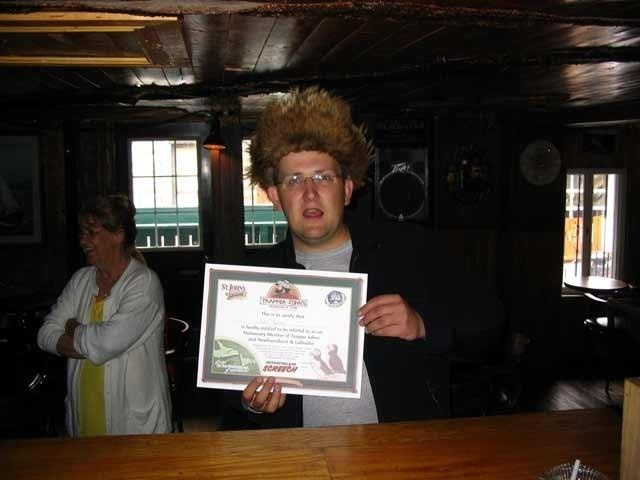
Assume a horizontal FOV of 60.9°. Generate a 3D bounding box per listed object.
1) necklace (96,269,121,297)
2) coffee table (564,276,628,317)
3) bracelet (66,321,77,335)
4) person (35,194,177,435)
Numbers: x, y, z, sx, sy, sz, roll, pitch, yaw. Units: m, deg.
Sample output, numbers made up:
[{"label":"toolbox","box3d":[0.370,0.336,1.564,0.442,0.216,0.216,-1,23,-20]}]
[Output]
[{"label":"necklace","box3d":[-1.569,0.322,4.075,0.156,0.197,0.076,1,-15,20]},{"label":"coffee table","box3d":[3.440,0.710,6.773,0.459,0.262,0.435,1,9,4]},{"label":"bracelet","box3d":[-1.775,0.615,3.903,0.065,0.086,0.118,6,27,-16]},{"label":"person","box3d":[-1.535,0.557,3.976,0.800,1.752,0.619,2,9,23]}]
